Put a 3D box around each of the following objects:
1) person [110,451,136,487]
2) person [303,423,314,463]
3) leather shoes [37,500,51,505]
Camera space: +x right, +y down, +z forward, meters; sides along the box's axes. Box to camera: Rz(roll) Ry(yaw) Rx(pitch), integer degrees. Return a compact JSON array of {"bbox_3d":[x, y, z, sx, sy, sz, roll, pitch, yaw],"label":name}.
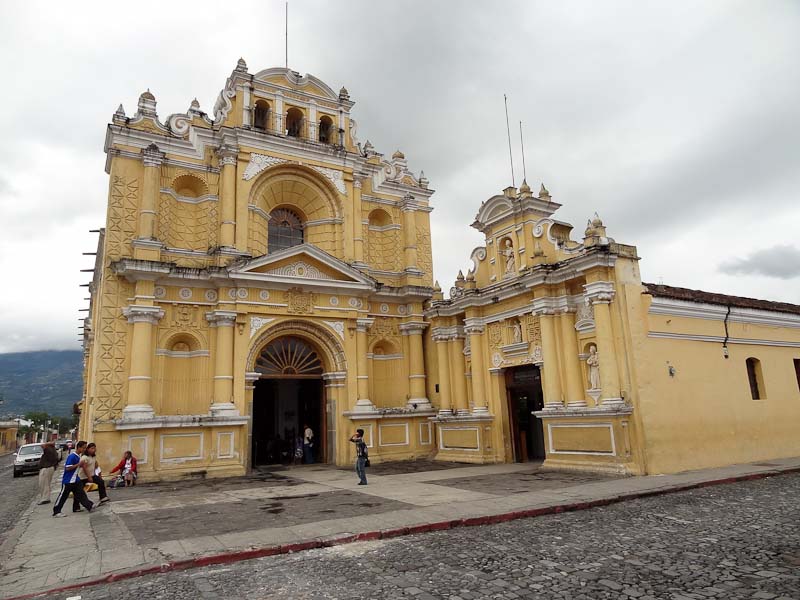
[{"bbox_3d":[-9.715,6.061,16.293,0.935,0.783,1.255,2,-35,-19],"label":"person"},{"bbox_3d":[-4.254,6.851,21.613,0.505,1.623,0.963,-1,-12,-9],"label":"person"},{"bbox_3d":[-10.254,5.847,13.225,0.290,0.140,0.326,6,-13,-35],"label":"leather shoes"}]
